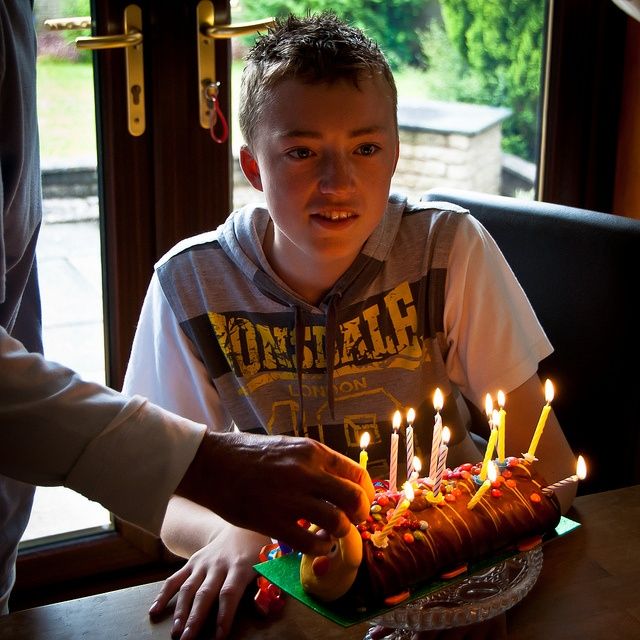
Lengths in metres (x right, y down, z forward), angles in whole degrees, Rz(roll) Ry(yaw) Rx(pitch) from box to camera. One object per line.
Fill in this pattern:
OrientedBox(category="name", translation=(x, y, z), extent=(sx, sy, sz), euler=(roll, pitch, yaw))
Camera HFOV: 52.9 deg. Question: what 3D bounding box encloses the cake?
OrientedBox(category="cake", translation=(0.127, 0.200, 0.778), extent=(0.285, 0.110, 0.133), euler=(-13, 7, -24))
